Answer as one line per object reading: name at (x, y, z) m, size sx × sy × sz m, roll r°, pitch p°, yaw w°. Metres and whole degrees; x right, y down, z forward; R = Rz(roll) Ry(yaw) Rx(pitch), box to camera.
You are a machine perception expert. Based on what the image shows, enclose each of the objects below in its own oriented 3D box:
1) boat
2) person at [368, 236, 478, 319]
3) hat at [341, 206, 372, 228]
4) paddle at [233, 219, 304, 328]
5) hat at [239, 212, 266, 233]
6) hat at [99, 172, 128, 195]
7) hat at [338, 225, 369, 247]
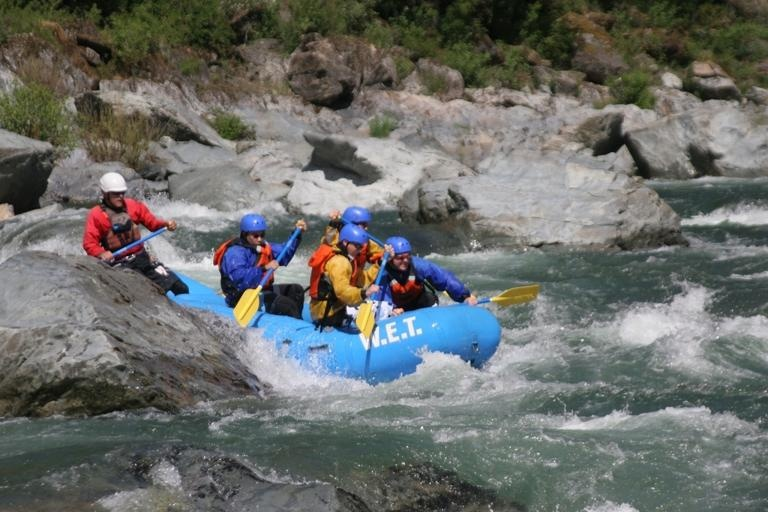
boat at (-0.479, 1.580, 21.226) m, size 5.410 × 1.294 × 2.495 m, roll 12°, pitch 6°, yaw 11°
person at (0.967, 0.501, 21.918) m, size 1.255 × 1.195 × 0.746 m, roll -44°, pitch 12°, yaw -26°
hat at (-0.425, -0.791, 21.690) m, size 0.511 × 0.375 × 0.390 m, roll 6°, pitch 10°, yaw 0°
paddle at (-2.277, 0.441, 21.858) m, size 2.813 × 0.596 × 0.223 m, roll -49°, pitch 12°, yaw -31°
hat at (-2.570, -0.658, 21.671) m, size 0.480 × 0.360 × 0.353 m, roll -9°, pitch 0°, yaw 19°
hat at (-5.451, -1.487, 21.503) m, size 0.534 × 0.419 × 0.411 m, roll 25°, pitch 41°, yaw 35°
hat at (-0.443, -0.412, 20.962) m, size 0.511 × 0.272 × 0.380 m, roll 19°, pitch 13°, yaw 6°
